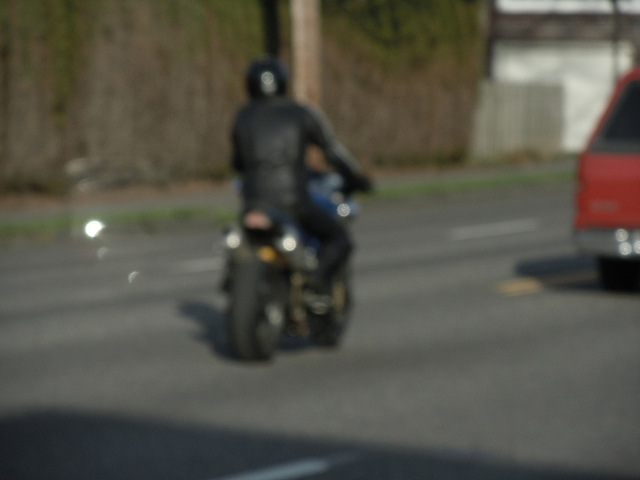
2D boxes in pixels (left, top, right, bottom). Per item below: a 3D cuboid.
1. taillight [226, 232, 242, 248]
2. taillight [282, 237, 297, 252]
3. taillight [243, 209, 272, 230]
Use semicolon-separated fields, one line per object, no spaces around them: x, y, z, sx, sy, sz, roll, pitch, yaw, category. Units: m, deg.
-0.740;0.000;6.580;0.090;0.123;0.024;0;-18;-6;taillight
-0.269;0.037;6.590;0.116;0.117;0.033;-3;5;-13;taillight
-0.533;-0.174;6.551;0.241;0.154;0.147;-3;7;-10;taillight
